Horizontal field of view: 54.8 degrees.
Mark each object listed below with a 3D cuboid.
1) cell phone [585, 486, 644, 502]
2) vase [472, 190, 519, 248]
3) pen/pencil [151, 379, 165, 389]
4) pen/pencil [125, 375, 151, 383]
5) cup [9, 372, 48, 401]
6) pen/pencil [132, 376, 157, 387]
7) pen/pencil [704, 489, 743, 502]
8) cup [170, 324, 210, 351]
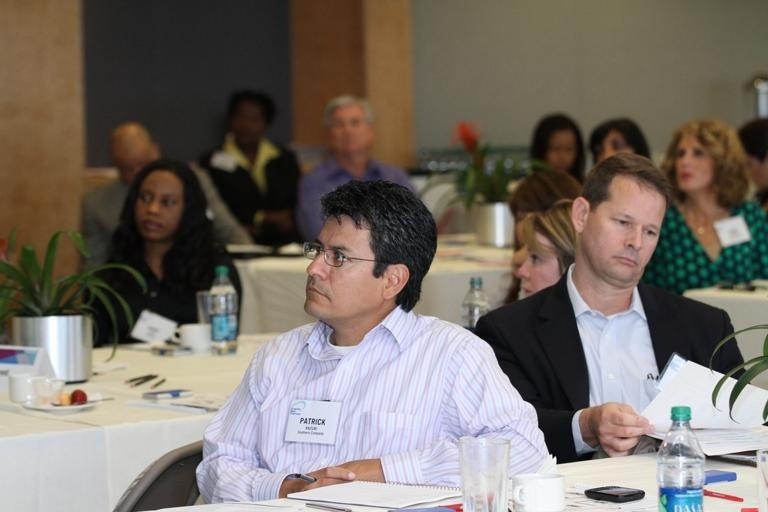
[{"bbox_3d":[0.540,0.559,1.736,0.135,0.023,0.079,-2,3,18],"label":"cell phone"},{"bbox_3d":[0.805,-0.237,5.630,0.322,0.330,0.304,-2,4,-17],"label":"vase"},{"bbox_3d":[-0.822,0.467,2.736,0.013,0.014,0.099,19,16,14],"label":"pen/pencil"},{"bbox_3d":[-0.927,0.466,2.800,0.009,0.009,0.079,30,24,33],"label":"pen/pencil"},{"bbox_3d":[-1.199,0.444,2.509,0.150,0.104,0.085,2,-4,-40],"label":"cup"},{"bbox_3d":[-0.886,0.465,2.774,0.015,0.016,0.150,-1,5,25],"label":"pen/pencil"},{"bbox_3d":[0.796,0.565,1.740,0.099,0.015,0.015,5,17,34],"label":"pen/pencil"},{"bbox_3d":[-0.852,0.364,3.280,0.134,0.098,0.102,-2,-3,2],"label":"cup"}]
